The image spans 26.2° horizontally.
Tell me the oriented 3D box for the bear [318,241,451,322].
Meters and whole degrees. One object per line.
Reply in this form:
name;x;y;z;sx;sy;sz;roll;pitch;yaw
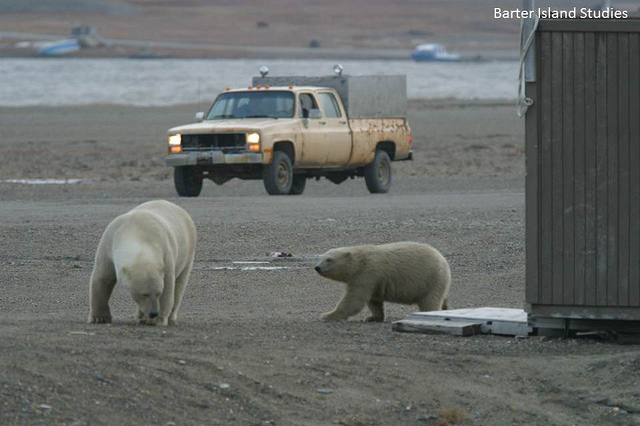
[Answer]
bear;0.991;0.943;18.815;1.961;1.026;0.796;3;-4;-2

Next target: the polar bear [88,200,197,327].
polar bear;-2.497;0.605;18.982;1.343;1.667;3.347;2;8;2

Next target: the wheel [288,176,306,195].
wheel;-0.542;-0.685;30.820;0.144;0.378;0.395;-3;5;27

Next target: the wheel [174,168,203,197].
wheel;-2.832;-0.727;29.317;0.204;0.538;0.565;6;11;32

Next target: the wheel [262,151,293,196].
wheel;-0.879;-0.874;28.555;0.623;1.115;1.318;-4;11;-1

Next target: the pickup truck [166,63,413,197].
pickup truck;-0.682;-1.741;29.367;2.804;2.303;5.093;0;2;36

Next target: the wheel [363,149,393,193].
wheel;1.312;-1.030;30.919;0.310;0.842;0.883;-3;7;32
